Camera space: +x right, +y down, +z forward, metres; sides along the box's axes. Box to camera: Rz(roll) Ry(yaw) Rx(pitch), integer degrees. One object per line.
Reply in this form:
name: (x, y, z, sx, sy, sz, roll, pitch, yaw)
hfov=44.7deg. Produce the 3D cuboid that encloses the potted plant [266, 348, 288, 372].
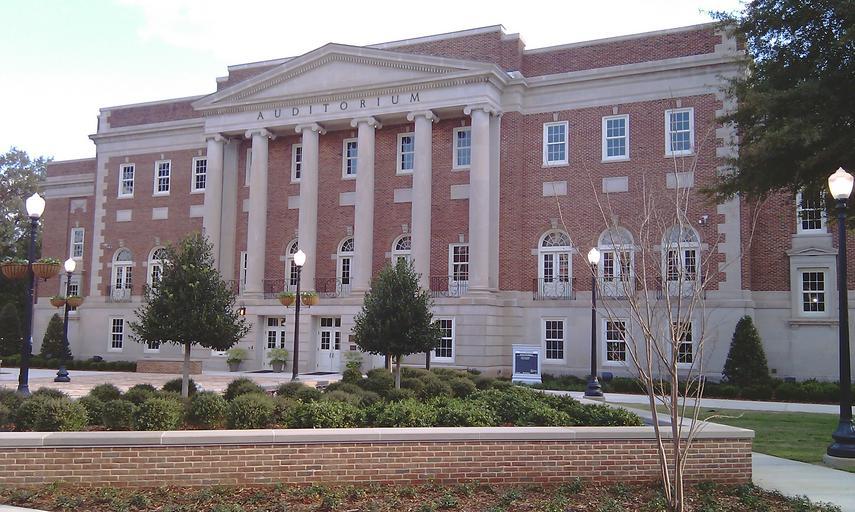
potted plant: (-8.112, 5.661, 56.449, 1.185, 1.146, 1.160, 2, -7, -25)

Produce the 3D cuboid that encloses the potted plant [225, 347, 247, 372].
potted plant: (-10.632, 5.697, 57.349, 1.216, 1.178, 1.182, 3, -9, -20)
